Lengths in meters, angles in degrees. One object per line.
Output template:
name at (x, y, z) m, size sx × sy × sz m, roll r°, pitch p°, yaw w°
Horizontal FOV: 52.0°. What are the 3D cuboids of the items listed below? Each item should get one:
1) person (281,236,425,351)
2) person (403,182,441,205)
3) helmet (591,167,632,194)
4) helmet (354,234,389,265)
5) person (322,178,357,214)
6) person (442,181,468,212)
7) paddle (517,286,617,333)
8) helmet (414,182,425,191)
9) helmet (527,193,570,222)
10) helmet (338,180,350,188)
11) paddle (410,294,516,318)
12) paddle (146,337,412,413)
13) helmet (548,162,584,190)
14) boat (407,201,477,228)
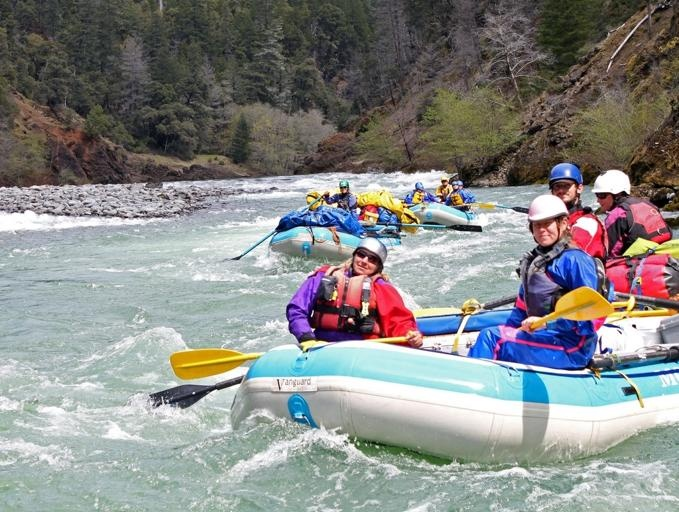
person at (0.106, 0.450, 8.780) m, size 1.488 × 1.483 × 0.874 m, roll 16°, pitch -15°, yaw 4°
person at (2.296, -1.808, 20.181) m, size 0.754 × 0.407 × 0.909 m, roll -1°, pitch 7°, yaw -8°
helmet at (3.420, -0.944, 8.707) m, size 0.479 × 0.217 × 0.314 m, roll -1°, pitch 8°, yaw -4°
helmet at (0.330, -0.078, 7.177) m, size 0.260 × 0.296 × 0.249 m, roll 18°, pitch 5°, yaw 5°
person at (0.005, -1.358, 16.081) m, size 0.713 × 0.733 × 0.741 m, roll -3°, pitch 9°, yaw 14°
person at (3.221, -1.652, 19.693) m, size 1.110 × 0.676 × 1.355 m, roll 13°, pitch 8°, yaw 4°
paddle at (1.964, 0.466, 6.056) m, size 0.119 × 0.256 × 0.829 m, roll -35°, pitch 9°, yaw -35°
helmet at (2.215, -1.986, 19.924) m, size 0.317 × 0.262 × 0.230 m, roll -1°, pitch 13°, yaw 20°
helmet at (1.891, -0.438, 6.345) m, size 0.373 × 0.230 × 0.216 m, roll -4°, pitch 9°, yaw 1°
helmet at (0.095, -1.661, 16.001) m, size 0.213 × 0.131 × 0.299 m, roll -2°, pitch -4°, yaw 7°
paddle at (1.676, 0.673, 9.406) m, size 1.084 × 0.103 × 0.131 m, roll -10°, pitch -33°, yaw -27°
paddle at (-0.599, 1.216, 6.953) m, size 2.608 × 0.389 × 0.357 m, roll -12°, pitch -33°, yaw 17°
helmet at (2.585, -0.942, 7.992) m, size 0.289 × 0.288 × 0.344 m, roll 4°, pitch 29°, yaw 19°
boat at (2.849, -1.099, 18.999) m, size 1.343 × 0.375 × 0.814 m, roll 15°, pitch -4°, yaw 24°
